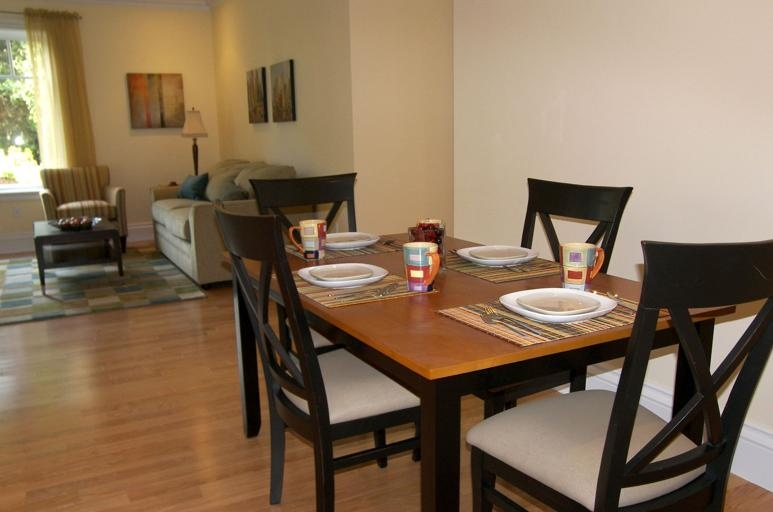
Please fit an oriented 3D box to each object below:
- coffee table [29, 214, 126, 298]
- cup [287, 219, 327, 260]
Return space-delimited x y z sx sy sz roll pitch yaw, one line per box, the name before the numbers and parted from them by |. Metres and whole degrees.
coffee table | -3.065 -0.147 5.641 0.862 0.678 0.896 -6 13 -30
cup | -0.339 -0.091 2.662 0.241 0.217 0.152 -5 17 -20
